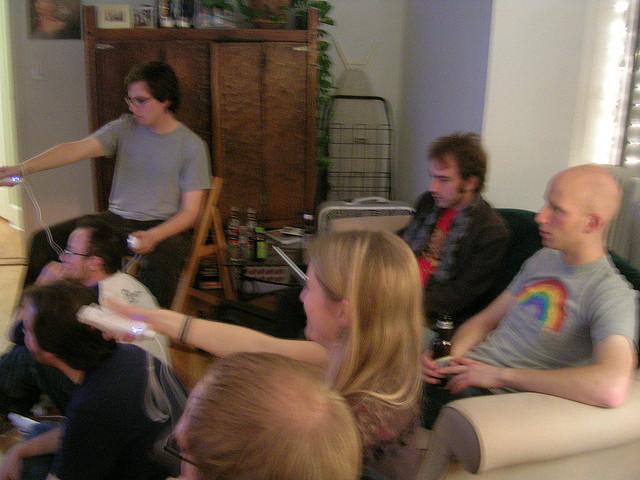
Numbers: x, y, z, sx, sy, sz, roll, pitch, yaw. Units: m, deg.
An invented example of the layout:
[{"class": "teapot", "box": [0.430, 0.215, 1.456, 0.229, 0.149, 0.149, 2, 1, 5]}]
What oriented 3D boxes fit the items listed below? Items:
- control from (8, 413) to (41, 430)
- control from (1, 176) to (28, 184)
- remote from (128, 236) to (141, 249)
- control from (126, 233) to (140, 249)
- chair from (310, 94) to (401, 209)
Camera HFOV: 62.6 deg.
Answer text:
[{"class": "control", "box": [-0.509, 0.313, 0.913, 0.066, 0.018, 0.018, 15, 29, 3]}, {"class": "control", "box": [-0.980, -0.196, 1.717, 0.052, 0.023, 0.154, 1, 8, -8]}, {"class": "remote", "box": [-0.478, 0.007, 1.358, 0.024, 0.014, 0.033, 43, -4, -19]}, {"class": "control", "box": [-0.478, 0.002, 1.347, 0.026, 0.015, 0.033, 38, 6, -27]}, {"class": "chair", "box": [0.319, -0.759, 4.130, 0.520, 0.715, 0.534, 8, 18, 37]}]
